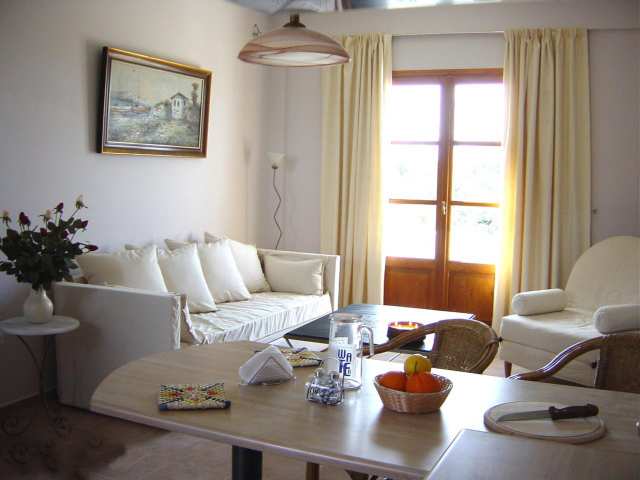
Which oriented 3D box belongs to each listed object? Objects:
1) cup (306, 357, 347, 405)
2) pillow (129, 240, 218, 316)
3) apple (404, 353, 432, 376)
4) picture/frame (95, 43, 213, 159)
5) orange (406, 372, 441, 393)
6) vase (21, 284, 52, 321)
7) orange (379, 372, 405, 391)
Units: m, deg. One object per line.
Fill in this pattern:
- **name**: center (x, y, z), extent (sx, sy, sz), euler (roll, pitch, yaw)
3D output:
- **cup**: center (0.000, 0.395, 1.524), extent (0.147, 0.161, 0.094), euler (3, 6, 19)
- **pillow**: center (-1.063, 0.294, 4.089), extent (0.453, 0.773, 0.859), euler (-3, -2, 30)
- **apple**: center (0.294, 0.367, 1.513), extent (0.062, 0.059, 0.058), euler (3, -1, -35)
- **picture/frame**: center (-1.382, -1.120, 4.324), extent (0.031, 0.795, 1.150), euler (18, 16, 26)
- **orange**: center (0.288, 0.400, 1.411), extent (0.063, 0.063, 0.058), euler (-4, 5, -22)
- **vase**: center (-1.755, 0.405, 3.140), extent (0.147, 0.213, 0.087), euler (0, 0, -29)
- **orange**: center (0.208, 0.401, 1.442), extent (0.045, 0.032, 0.057), euler (5, -3, -35)
